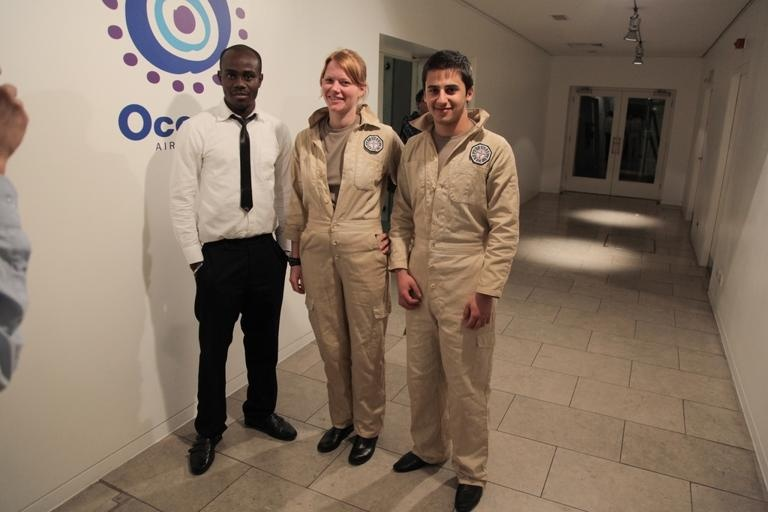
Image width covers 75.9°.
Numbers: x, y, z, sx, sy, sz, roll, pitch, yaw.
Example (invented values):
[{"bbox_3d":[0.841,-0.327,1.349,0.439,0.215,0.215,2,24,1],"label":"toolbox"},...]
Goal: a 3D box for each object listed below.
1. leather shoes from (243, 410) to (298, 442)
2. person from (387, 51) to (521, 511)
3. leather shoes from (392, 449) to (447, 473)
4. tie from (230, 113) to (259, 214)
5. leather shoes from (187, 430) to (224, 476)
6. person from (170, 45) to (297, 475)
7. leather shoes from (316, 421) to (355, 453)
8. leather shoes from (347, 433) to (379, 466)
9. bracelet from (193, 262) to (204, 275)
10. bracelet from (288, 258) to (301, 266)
[{"bbox_3d":[-0.732,1.108,3.298,0.400,0.144,0.145,9,16,15],"label":"leather shoes"},{"bbox_3d":[0.334,0.165,2.741,0.726,2.443,0.520,10,18,25],"label":"person"},{"bbox_3d":[0.223,1.264,3.058,0.342,0.132,0.114,3,4,-6],"label":"leather shoes"},{"bbox_3d":[-0.839,-0.549,2.911,0.104,0.552,0.181,-3,17,-16],"label":"tie"},{"bbox_3d":[-1.110,1.206,3.054,0.106,0.109,0.281,7,12,-3],"label":"leather shoes"},{"bbox_3d":[-0.883,0.036,2.968,0.741,2.456,0.563,-5,18,-22],"label":"person"},{"bbox_3d":[-0.308,1.154,3.220,0.099,0.111,0.292,11,14,30],"label":"leather shoes"},{"bbox_3d":[-0.137,1.211,3.091,0.101,0.096,0.233,2,2,20],"label":"leather shoes"},{"bbox_3d":[-1.081,0.074,2.873,0.053,0.061,0.056,3,-14,1],"label":"bracelet"},{"bbox_3d":[-0.561,0.037,3.074,0.051,0.037,0.067,4,-3,2],"label":"bracelet"}]
